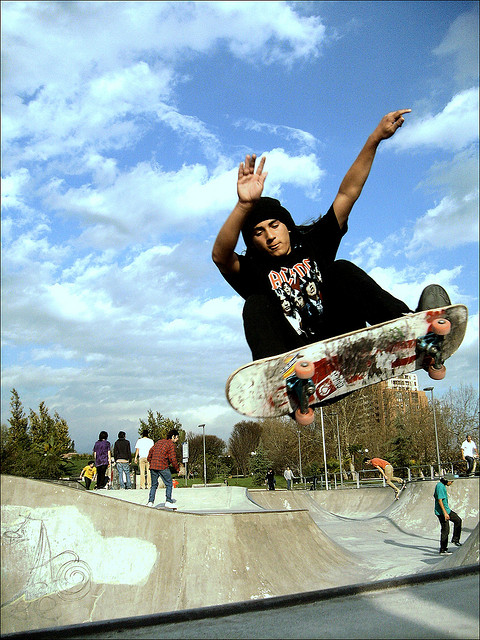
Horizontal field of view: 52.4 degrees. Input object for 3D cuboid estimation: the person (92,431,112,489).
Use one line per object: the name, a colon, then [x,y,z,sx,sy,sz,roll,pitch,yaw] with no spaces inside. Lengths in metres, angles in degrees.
person: [-2.815,2.862,9.895,0.334,1.169,0.987,6,-11,-13]

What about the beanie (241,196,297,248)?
beanie: [0.266,-0.851,4.171,0.488,0.393,0.357,4,-11,-1]

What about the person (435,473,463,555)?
person: [2.892,2.725,6.790,0.327,1.092,0.843,-1,-12,25]

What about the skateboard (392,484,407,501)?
skateboard: [4.002,4.300,12.170,0.293,0.398,0.657,1,-11,14]

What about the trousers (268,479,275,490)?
trousers: [1.372,7.206,21.334,0.176,0.685,0.103,-13,-10,21]

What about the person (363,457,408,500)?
person: [3.937,4.171,12.769,1.114,0.953,1.060,14,-14,-41]

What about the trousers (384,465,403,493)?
trousers: [4.030,4.274,12.855,0.251,0.502,0.882,-22,-59,30]

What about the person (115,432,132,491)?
person: [-2.383,2.906,9.934,0.363,1.234,1.408,6,-11,-11]

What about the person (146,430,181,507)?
person: [-1.192,2.350,7.578,0.509,1.228,1.352,6,-11,-9]

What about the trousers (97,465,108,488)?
trousers: [-2.822,3.177,9.934,0.172,0.198,0.723,-16,-32,-26]
